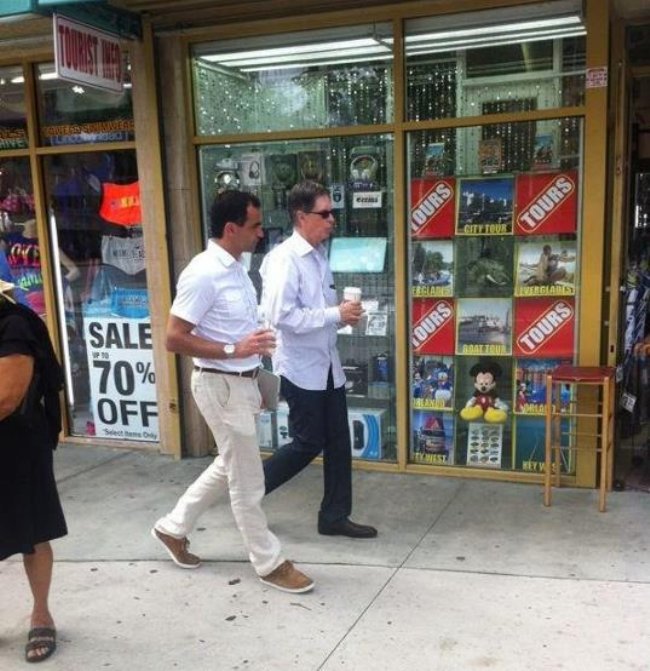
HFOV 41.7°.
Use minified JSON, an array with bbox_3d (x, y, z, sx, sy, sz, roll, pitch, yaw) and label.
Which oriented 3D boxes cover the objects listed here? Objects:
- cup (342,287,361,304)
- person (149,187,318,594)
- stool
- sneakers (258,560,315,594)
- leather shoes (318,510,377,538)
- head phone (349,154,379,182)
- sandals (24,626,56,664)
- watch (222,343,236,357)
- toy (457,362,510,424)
[{"bbox_3d":[0.144,-0.217,4.426,0.092,0.062,0.089,1,13,0],"label":"cup"},{"bbox_3d":[-0.470,0.262,4.103,0.751,1.903,0.524,-3,11,0],"label":"person"},{"bbox_3d":[1.505,0.573,5.137,0.420,0.815,0.807,1,11,18],"label":"stool"},{"bbox_3d":[-0.174,1.139,4.099,0.272,0.112,0.114,2,8,32],"label":"sneakers"},{"bbox_3d":[0.116,1.051,4.758,0.331,0.132,0.118,-1,3,12],"label":"leather shoes"},{"bbox_3d":[0.249,-1.099,5.606,0.167,0.179,0.064,12,20,17],"label":"head phone"},{"bbox_3d":[-1.192,1.317,3.616,0.113,0.084,0.308,-1,0,-18],"label":"sandals"},{"bbox_3d":[-0.431,0.067,3.885,0.069,0.057,0.036,-1,11,9],"label":"watch"},{"bbox_3d":[1.049,0.365,5.633,0.379,0.519,0.220,1,9,17],"label":"toy"}]
